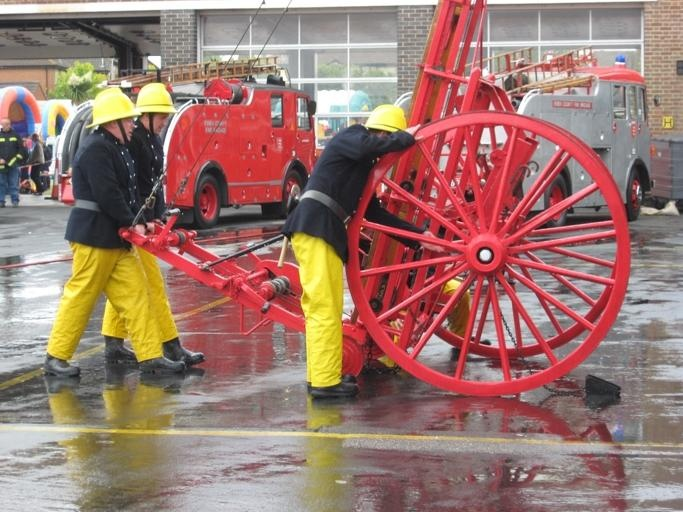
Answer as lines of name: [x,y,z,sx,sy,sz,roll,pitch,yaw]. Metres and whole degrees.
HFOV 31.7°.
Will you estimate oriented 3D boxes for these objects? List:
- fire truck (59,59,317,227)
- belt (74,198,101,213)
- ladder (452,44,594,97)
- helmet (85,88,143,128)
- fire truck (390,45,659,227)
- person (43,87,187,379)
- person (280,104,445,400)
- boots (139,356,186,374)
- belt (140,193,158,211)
fire truck: [-3.155,-2.222,24.769,3.140,2.661,5.637,6,11,27]
belt: [-2.505,-0.499,11.685,0.334,0.109,0.142,9,16,38]
ladder: [3.879,-3.602,23.425,1.630,0.788,3.021,5,13,26]
helmet: [-2.251,-1.477,11.788,0.498,0.254,0.402,-11,4,10]
fire truck: [3.751,-2.475,24.242,3.022,2.840,6.057,3,8,36]
person: [-2.255,-0.190,11.924,1.614,2.701,0.978,-1,5,-18]
person: [0.078,-0.050,11.020,1.106,2.541,0.667,-8,16,-27]
boots: [-1.746,1.070,11.851,0.480,0.183,0.160,-3,7,-2]
belt: [-1.897,-0.523,11.772,0.081,0.098,0.312,6,-17,-8]
